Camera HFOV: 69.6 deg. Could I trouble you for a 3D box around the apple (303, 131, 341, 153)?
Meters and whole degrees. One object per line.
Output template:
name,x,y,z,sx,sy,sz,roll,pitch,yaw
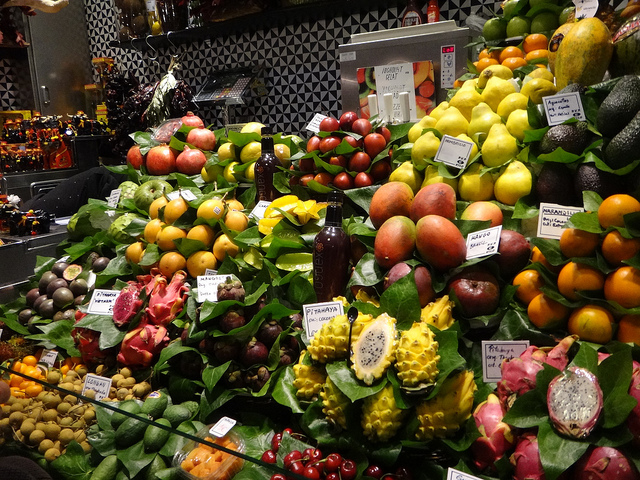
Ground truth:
apple,0.013,-0.350,1.675,0.065,0.105,0.126,0,5,-39

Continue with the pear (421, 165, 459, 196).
pear,0.376,-0.180,1.469,0.092,0.121,0.092,1,7,34

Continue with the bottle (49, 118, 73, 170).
bottle,-2.445,-0.902,4.286,0.210,0.513,0.222,13,45,-13

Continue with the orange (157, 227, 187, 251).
orange,-0.525,-0.007,1.609,0.084,0.074,0.068,-8,12,24

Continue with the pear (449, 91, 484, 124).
pear,0.508,-0.465,1.664,0.103,0.151,0.100,-9,12,-39

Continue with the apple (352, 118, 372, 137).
apple,0.148,-0.397,1.633,0.059,0.080,0.062,3,-9,-11

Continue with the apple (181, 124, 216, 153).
apple,-0.528,-0.431,1.998,0.111,0.144,0.118,0,-20,6

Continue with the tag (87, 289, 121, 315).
tag,-0.749,0.214,1.560,0.086,0.086,0.009,3,-17,5

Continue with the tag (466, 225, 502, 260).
tag,0.448,0.011,1.255,0.082,0.007,0.074,-25,36,38

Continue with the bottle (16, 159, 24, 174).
bottle,-2.659,-0.648,4.087,0.037,0.128,0.069,-2,9,31

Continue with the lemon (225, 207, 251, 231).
lemon,-0.287,-0.060,1.623,0.065,0.081,0.068,-36,-18,17

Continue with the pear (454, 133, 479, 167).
pear,0.470,-0.282,1.500,0.081,0.109,0.084,-3,-3,42

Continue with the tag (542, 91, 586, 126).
tag,0.719,-0.365,1.361,0.096,0.098,0.027,-17,-11,19

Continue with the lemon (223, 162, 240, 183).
lemon,-0.341,-0.267,1.823,0.067,0.088,0.072,1,8,3

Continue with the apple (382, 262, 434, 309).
apple,0.269,0.109,1.328,0.115,0.119,0.140,3,42,47

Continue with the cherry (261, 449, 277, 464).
cherry,-0.126,0.529,1.139,0.022,0.025,0.024,2,13,-4

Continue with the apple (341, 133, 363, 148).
apple,0.111,-0.344,1.597,0.061,0.056,0.053,15,16,17

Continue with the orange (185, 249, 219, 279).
orange,-0.405,0.081,1.610,0.088,0.095,0.089,7,0,4

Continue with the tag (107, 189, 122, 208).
tag,-0.898,-0.186,2.021,0.022,0.084,0.080,14,-5,-39

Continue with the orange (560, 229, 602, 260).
orange,0.677,0.006,1.229,0.074,0.100,0.077,0,3,-1

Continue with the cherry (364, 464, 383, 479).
cherry,0.126,0.539,1.077,0.026,0.028,0.026,8,57,9

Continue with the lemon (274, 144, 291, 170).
lemon,-0.144,-0.319,1.795,0.080,0.107,0.086,-3,6,-2

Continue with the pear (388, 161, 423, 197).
pear,0.321,-0.210,1.540,0.098,0.136,0.111,-12,-13,17

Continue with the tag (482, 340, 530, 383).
tag,0.477,0.313,1.184,0.117,0.111,0.011,-10,-38,29

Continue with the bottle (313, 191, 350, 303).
bottle,0.054,0.027,1.382,0.096,0.333,0.140,0,21,5

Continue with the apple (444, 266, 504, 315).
apple,0.438,0.165,1.256,0.110,0.104,0.112,-28,3,-6

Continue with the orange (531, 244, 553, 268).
orange,0.603,0.040,1.272,0.050,0.067,0.052,-12,10,-24

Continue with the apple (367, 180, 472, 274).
apple,0.257,-0.038,1.362,0.299,0.128,0.314,10,37,3

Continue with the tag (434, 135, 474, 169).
tag,0.416,-0.267,1.441,0.114,0.025,0.127,29,64,25

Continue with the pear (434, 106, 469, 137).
pear,0.448,-0.374,1.572,0.108,0.146,0.118,3,-11,18

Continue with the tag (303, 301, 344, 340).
tag,0.013,0.218,1.280,0.114,0.088,0.040,-10,20,-7

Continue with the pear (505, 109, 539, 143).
pear,0.621,-0.358,1.444,0.079,0.105,0.094,14,1,-16

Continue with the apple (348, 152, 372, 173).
apple,0.135,-0.264,1.580,0.063,0.086,0.067,9,11,9

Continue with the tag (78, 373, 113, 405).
tag,-0.707,0.468,1.447,0.075,0.079,0.021,9,-9,24

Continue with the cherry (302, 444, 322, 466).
cherry,-0.021,0.519,1.119,0.031,0.047,0.031,17,-15,-26

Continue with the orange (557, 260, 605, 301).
orange,0.669,0.112,1.210,0.085,0.112,0.094,-6,14,8

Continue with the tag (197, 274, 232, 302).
tag,-0.324,0.141,1.437,0.108,0.060,0.091,-12,22,-12

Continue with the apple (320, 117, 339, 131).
apple,0.025,-0.411,1.630,0.046,0.051,0.047,2,24,1

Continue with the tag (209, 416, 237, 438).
tag,-0.242,0.463,1.146,0.047,0.020,0.060,7,26,32

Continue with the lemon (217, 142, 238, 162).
lemon,-0.375,-0.351,1.863,0.091,0.068,0.046,0,21,17

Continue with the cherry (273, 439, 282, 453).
cherry,-0.108,0.520,1.167,0.015,0.022,0.016,23,-6,9

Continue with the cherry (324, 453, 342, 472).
cherry,0.032,0.521,1.088,0.032,0.035,0.047,-15,-25,-12

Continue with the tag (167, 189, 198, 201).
tag,-0.511,-0.167,1.722,0.066,0.016,0.063,-1,31,-30

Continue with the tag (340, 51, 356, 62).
tag,0.142,-0.913,2.311,0.049,0.051,0.012,4,-18,6

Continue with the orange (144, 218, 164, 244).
orange,-0.602,-0.031,1.726,0.071,0.097,0.076,5,-5,14

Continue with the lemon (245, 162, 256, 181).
lemon,-0.266,-0.259,1.779,0.055,0.074,0.059,1,9,3

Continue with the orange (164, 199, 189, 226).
orange,-0.513,-0.096,1.659,0.070,0.057,0.059,-45,-5,20

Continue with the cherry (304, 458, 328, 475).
cherry,-0.006,0.527,1.091,0.047,0.038,0.036,4,11,-19

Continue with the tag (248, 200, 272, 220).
tag,-0.215,-0.111,1.655,0.018,0.062,0.067,29,18,-23

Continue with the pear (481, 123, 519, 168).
pear,0.557,-0.288,1.445,0.106,0.153,0.116,-10,21,-5

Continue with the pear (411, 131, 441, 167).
pear,0.346,-0.300,1.518,0.092,0.127,0.101,-9,27,14
